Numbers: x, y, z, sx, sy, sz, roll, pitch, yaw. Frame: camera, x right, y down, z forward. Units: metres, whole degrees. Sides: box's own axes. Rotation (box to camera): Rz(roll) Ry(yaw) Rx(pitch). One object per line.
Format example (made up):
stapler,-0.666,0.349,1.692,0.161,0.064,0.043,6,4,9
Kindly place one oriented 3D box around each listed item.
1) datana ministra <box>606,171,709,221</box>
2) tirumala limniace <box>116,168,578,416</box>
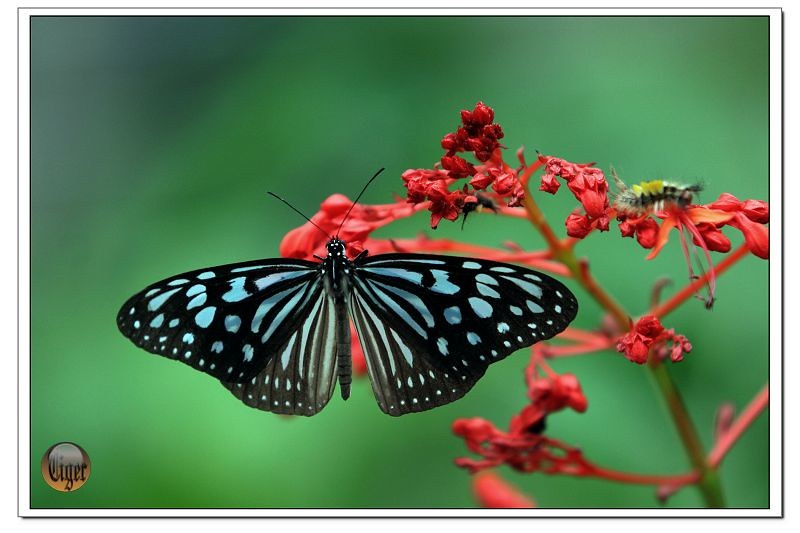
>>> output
datana ministra,1.282,-0.348,3.664,0.394,0.284,0.242,-2,-90,14
tirumala limniace,-0.241,0.321,3.596,2.446,0.360,1.370,-1,-83,5
